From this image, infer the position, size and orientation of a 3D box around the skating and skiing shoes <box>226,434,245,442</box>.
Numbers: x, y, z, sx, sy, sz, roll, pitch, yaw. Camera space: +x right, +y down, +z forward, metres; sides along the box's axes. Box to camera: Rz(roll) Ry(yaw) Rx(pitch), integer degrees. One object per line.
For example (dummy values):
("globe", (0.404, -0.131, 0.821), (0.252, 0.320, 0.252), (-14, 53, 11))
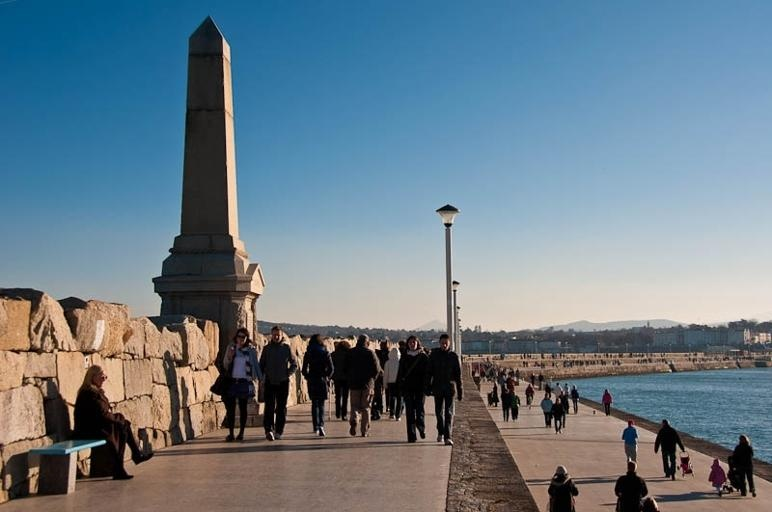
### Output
("skating and skiing shoes", (-2.560, 3.122, 13.030), (0.364, 0.159, 0.124), (15, -17, -34))

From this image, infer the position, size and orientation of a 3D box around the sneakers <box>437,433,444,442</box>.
("sneakers", (0.952, 3.226, 13.482), (0.104, 0.150, 0.085), (-3, -1, 13))

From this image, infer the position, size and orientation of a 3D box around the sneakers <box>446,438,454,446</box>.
("sneakers", (1.097, 3.229, 13.270), (0.129, 0.117, 0.525), (-2, -9, 7))

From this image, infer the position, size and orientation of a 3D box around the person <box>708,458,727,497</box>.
("person", (8.525, 5.696, 19.702), (0.413, 0.831, 0.913), (-5, -9, 23))

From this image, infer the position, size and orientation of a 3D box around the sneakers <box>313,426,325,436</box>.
("sneakers", (-1.200, 3.149, 13.765), (0.101, 0.264, 0.109), (-21, 10, -13))

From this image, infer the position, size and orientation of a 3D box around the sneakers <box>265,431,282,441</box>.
("sneakers", (-1.943, 3.139, 13.273), (0.110, 0.146, 0.317), (1, -4, 12))
